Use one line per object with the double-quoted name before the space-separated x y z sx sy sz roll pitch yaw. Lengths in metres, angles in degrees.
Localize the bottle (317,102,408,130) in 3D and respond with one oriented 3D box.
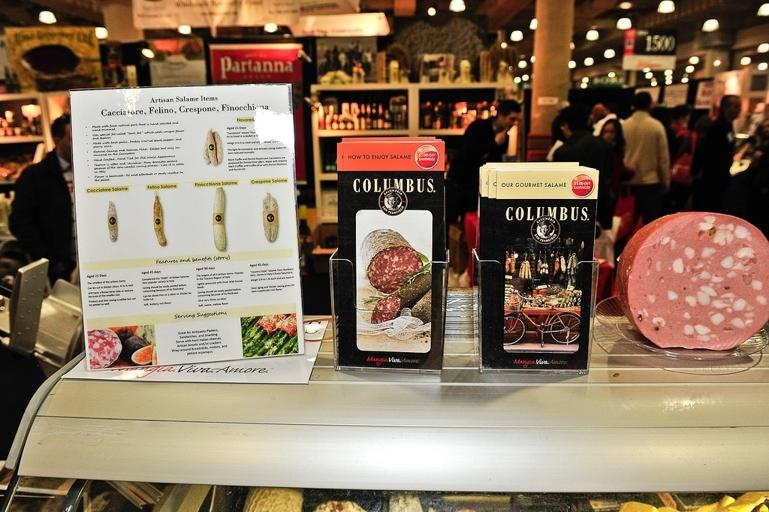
"bottle" -0.231 -1.483 6.533 0.941 0.284 0.378 -1 17 2
